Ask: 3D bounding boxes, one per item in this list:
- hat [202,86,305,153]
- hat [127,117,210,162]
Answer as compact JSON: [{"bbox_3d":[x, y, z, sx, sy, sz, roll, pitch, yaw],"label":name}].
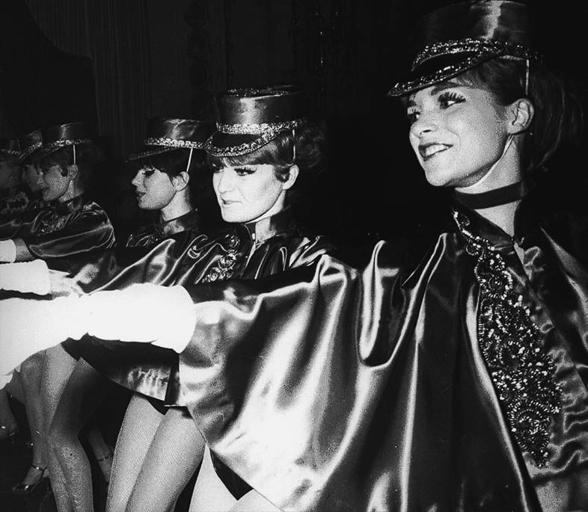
[{"bbox_3d":[-0.112,-0.403,2.743,0.253,0.127,0.186,-28,32,-35],"label":"hat"},{"bbox_3d":[-0.376,-0.364,2.881,0.193,0.063,0.113,-13,10,-25],"label":"hat"}]
